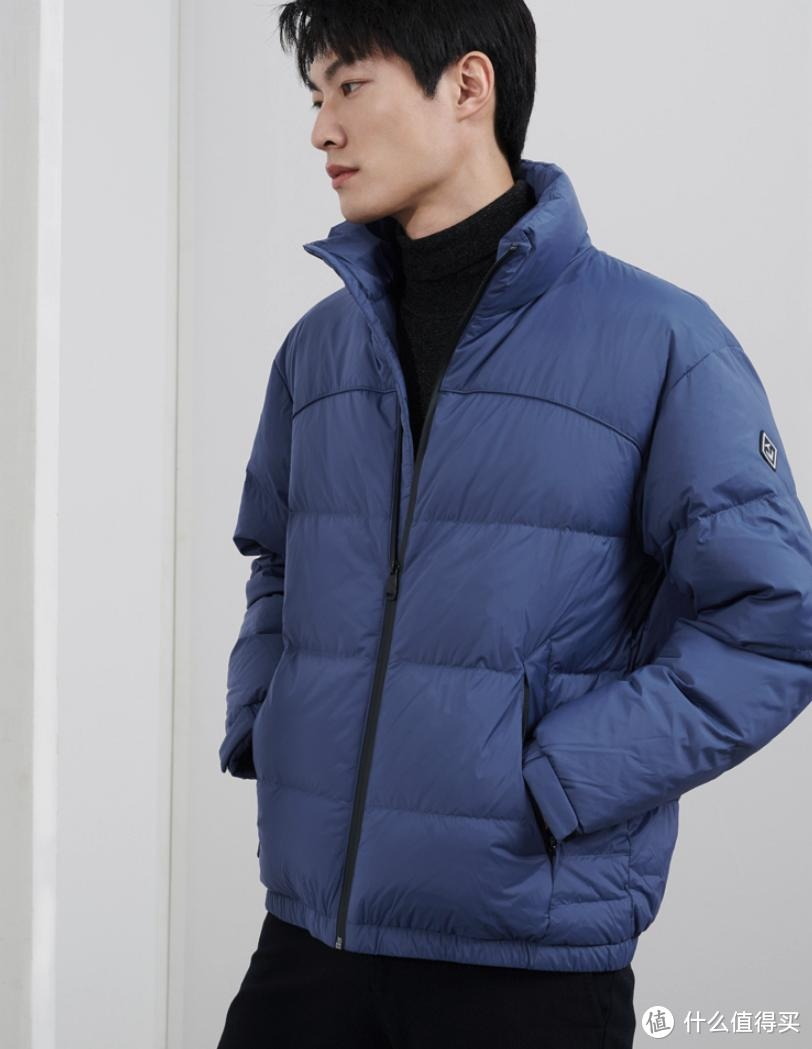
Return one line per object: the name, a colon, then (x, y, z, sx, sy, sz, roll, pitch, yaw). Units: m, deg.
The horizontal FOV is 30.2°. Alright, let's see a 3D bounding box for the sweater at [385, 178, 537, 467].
sweater: (0.071, -0.250, 1.966, 0.191, 0.342, 0.084, 2, -11, 25)
